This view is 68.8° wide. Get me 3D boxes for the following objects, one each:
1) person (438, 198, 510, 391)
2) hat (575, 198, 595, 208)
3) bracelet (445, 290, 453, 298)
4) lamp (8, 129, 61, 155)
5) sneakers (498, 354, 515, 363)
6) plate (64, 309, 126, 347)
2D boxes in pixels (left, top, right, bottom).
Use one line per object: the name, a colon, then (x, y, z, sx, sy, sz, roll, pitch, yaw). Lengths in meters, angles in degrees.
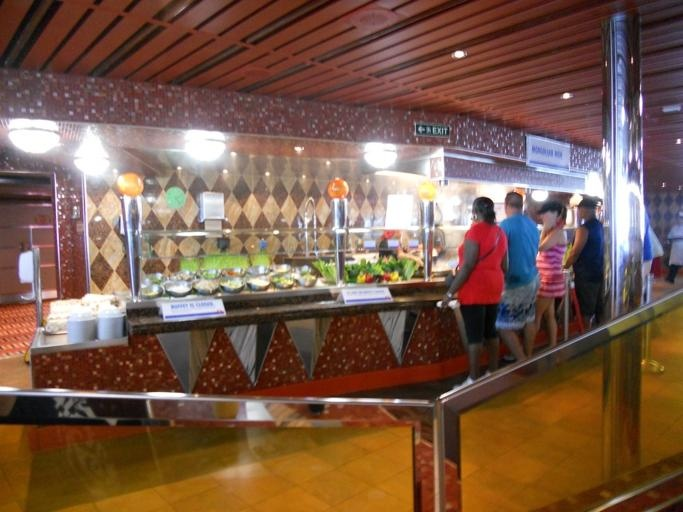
person: (1.178, 0.318, 4.314, 0.559, 1.654, 0.347, -2, 4, -32)
hat: (2.558, -0.569, 5.226, 0.104, 0.138, 0.125, -8, 16, -12)
bracelet: (0.926, 0.320, 4.290, 0.079, 0.080, 0.019, 2, 4, 25)
lamp: (-2.800, -1.068, 4.573, 0.342, 0.132, 0.351, 0, 0, -9)
sneakers: (1.782, 1.102, 5.381, 0.074, 0.089, 0.201, 2, 1, -22)
plate: (-1.794, 0.513, 3.672, 0.365, 0.275, 0.214, 1, -5, -29)
